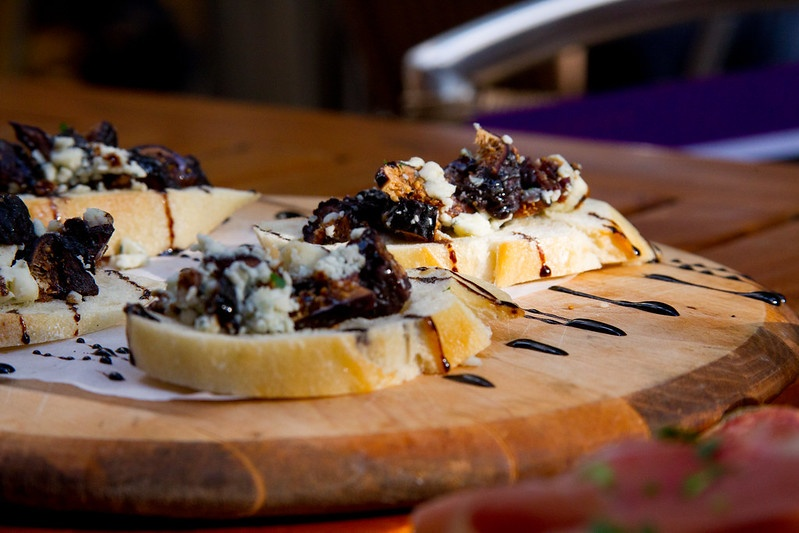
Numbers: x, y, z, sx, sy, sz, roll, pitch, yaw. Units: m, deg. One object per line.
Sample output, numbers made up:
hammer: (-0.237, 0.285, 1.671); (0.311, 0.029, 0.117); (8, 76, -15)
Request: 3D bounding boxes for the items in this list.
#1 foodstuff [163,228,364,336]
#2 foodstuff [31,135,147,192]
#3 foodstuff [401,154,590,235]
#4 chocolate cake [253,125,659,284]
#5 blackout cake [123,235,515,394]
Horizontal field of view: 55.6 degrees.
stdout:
foodstuff: (-0.360, 0.013, 1.848); (0.382, 0.117, 0.266); (-6, 18, -35)
foodstuff: (-1.112, -0.360, 2.662); (0.233, 0.089, 0.256); (3, 1, 4)
foodstuff: (0.287, -0.244, 2.643); (0.663, 0.210, 0.367); (-3, 1, 13)
chocolate cake: (0.285, -0.161, 2.503); (0.942, 0.312, 0.714); (-5, 7, -42)
blackout cake: (-0.202, 0.120, 1.873); (0.672, 0.197, 0.468); (-5, 13, -26)
